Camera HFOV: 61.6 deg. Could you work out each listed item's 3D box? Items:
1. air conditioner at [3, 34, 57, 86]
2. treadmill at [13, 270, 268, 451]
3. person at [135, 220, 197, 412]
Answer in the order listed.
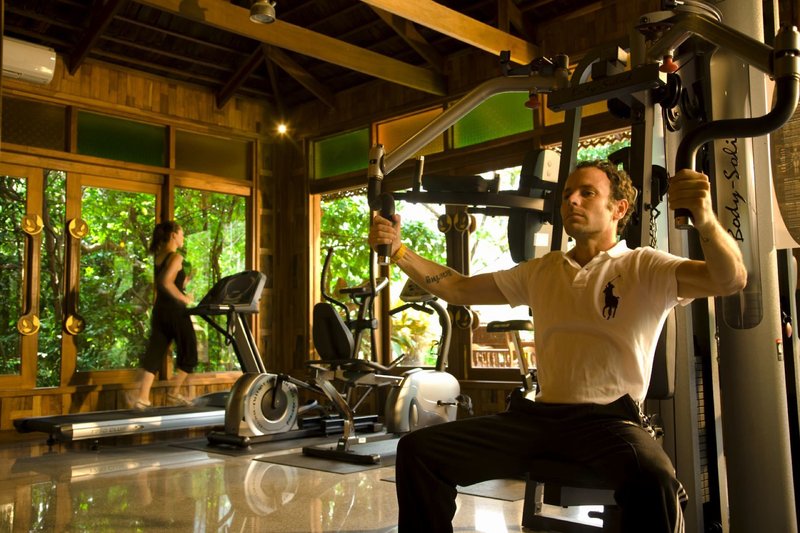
[{"bbox_3d":[-3.825,-2.103,6.805,0.389,0.372,0.570,-2,-3,32],"label":"air conditioner"},{"bbox_3d":[-2.268,0.833,6.391,0.930,1.496,2.228,-4,-5,39],"label":"treadmill"},{"bbox_3d":[-2.356,0.468,6.976,0.620,2.160,0.557,0,3,-5],"label":"person"}]
